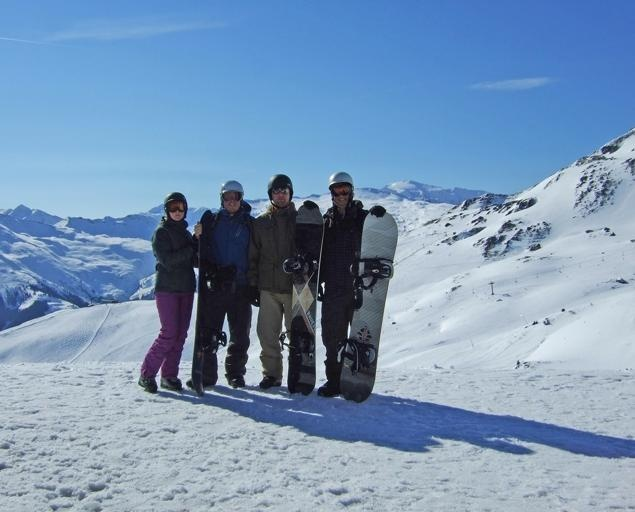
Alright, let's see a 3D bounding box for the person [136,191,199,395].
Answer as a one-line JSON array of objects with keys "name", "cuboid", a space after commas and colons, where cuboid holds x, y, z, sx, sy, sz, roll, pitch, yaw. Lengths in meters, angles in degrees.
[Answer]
[{"name": "person", "cuboid": [-2.380, 0.619, 10.305, 0.868, 3.289, 0.853, 2, 6, -12]}]
